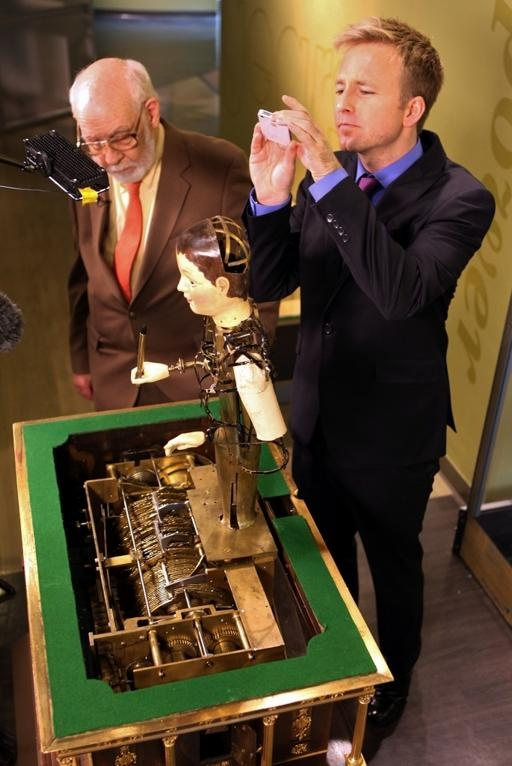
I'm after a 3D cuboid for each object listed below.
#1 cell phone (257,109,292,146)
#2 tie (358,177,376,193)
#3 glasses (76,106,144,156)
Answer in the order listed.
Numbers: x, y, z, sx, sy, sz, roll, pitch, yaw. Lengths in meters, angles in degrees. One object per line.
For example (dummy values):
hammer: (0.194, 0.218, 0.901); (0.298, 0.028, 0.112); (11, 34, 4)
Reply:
cell phone: (0.035, -0.528, 1.309); (0.081, 0.081, 0.019); (29, 79, 15)
tie: (0.270, -0.503, 1.596); (0.021, 0.038, 0.053); (-20, 40, -28)
glasses: (-0.436, -0.753, 1.924); (0.266, 0.123, 0.089); (-28, 45, -36)
